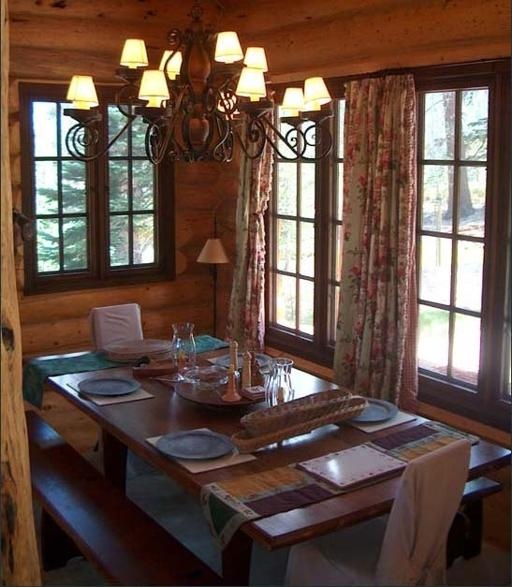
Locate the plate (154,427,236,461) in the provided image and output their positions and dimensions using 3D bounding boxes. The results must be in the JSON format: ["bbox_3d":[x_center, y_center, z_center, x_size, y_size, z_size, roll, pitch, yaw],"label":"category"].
[{"bbox_3d":[-0.223,0.573,1.996,0.288,0.039,0.238,0,10,-4],"label":"plate"}]

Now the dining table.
[{"bbox_3d":[-0.093,0.646,2.296,1.336,0.322,1.453,-2,6,-34],"label":"dining table"}]

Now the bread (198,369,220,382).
[{"bbox_3d":[-0.228,0.402,2.598,0.086,0.055,0.046,0,-3,-21],"label":"bread"}]

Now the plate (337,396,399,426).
[{"bbox_3d":[0.540,0.537,2.391,0.144,0.014,0.144,-15,13,-34],"label":"plate"}]
